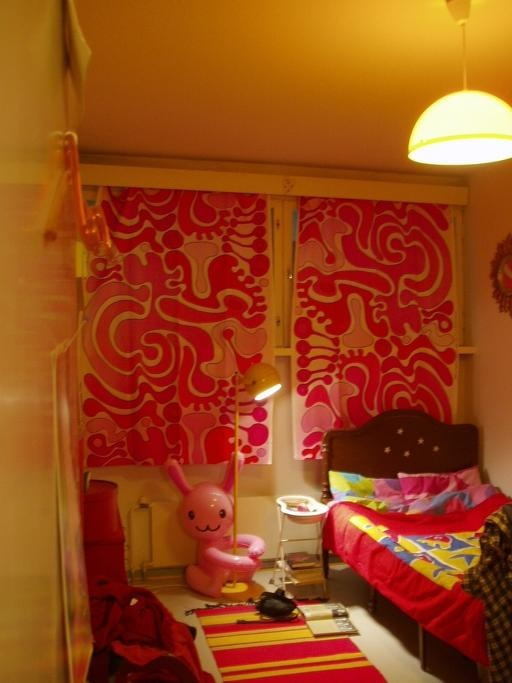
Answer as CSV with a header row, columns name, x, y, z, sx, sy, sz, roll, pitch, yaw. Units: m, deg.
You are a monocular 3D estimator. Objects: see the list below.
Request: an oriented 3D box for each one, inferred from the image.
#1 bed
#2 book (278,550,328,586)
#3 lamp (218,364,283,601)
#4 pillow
name,x,y,z,sx,sy,sz,roll,pitch,yaw
bed,0.992,0.977,4.074,1.001,0.922,1.173,0,-2,-8
book,0.266,1.409,3.714,0.219,0.086,0.256,0,-3,-7
lamp,-0.030,0.830,3.758,0.329,1.378,0.502,1,-1,2
pillow,0.924,0.921,3.760,0.650,0.222,0.083,2,-31,-9
